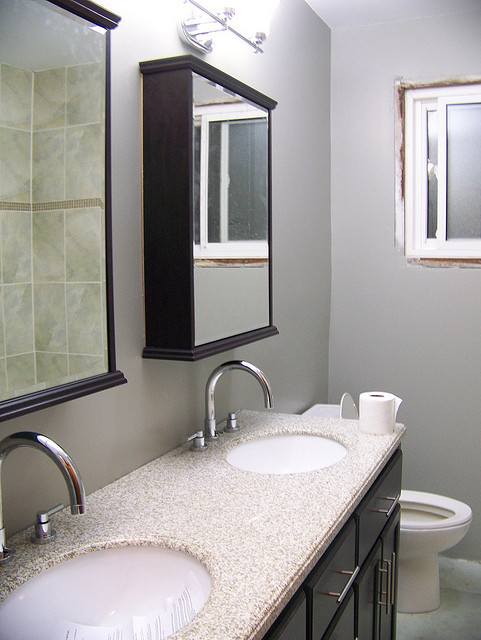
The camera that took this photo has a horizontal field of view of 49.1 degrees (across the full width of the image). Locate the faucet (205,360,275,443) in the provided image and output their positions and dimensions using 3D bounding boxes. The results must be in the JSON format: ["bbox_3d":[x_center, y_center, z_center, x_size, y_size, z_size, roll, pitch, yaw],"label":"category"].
[{"bbox_3d":[-0.030,0.222,1.462,0.134,0.226,0.253,-3,5,-37],"label":"faucet"}]

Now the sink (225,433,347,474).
[{"bbox_3d":[0.119,0.387,1.512,0.342,0.087,0.157,0,4,-10],"label":"sink"}]

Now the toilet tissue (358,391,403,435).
[{"bbox_3d":[0.414,0.281,1.591,0.119,0.112,0.103,4,8,32],"label":"toilet tissue"}]
